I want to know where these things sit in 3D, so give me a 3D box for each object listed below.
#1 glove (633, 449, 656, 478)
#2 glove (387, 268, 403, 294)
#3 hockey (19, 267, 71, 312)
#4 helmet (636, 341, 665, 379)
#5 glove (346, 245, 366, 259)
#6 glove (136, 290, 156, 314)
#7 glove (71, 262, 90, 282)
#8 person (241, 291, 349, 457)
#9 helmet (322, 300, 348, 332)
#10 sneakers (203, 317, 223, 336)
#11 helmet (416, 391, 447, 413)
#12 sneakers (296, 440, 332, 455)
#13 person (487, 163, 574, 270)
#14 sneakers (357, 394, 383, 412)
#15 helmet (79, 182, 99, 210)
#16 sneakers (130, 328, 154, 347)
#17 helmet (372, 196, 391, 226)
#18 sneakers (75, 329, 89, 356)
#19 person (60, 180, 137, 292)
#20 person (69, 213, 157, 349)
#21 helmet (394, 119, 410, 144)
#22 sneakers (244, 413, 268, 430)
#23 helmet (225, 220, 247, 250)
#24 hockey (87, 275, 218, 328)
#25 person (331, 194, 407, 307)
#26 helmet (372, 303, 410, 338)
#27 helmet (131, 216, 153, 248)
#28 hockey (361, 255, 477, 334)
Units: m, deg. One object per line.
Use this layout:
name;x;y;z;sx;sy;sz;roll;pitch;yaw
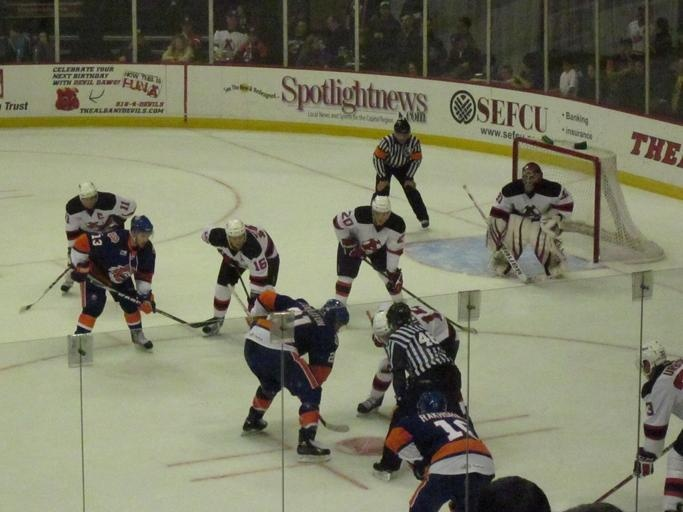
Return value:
glove;1.874;1.277;6.007;0.129;0.172;0.175;-2;1;11
glove;0.454;0.214;8.292;0.144;0.191;0.198;-2;6;-3
hockey;-2.734;0.319;8.939;0.075;0.546;0.078;58;19;23
helmet;1.956;0.637;6.108;0.147;0.194;0.195;-9;-8;-41
glove;0.153;-0.047;8.343;0.104;0.115;0.265;5;10;25
glove;-1.559;0.370;7.789;0.121;0.162;0.067;-13;20;3
glove;-2.108;0.130;7.894;0.158;0.210;0.090;2;32;5
person;-0.266;0.732;5.722;0.616;0.892;0.561;-10;29;-36
helmet;-0.017;0.332;5.979;0.199;0.181;0.152;11;13;8
sneakers;-0.789;0.425;5.965;0.056;0.066;0.154;19;42;14
helmet;0.547;0.880;5.875;0.128;0.146;0.137;2;5;-3
sneakers;-0.159;1.112;5.673;0.203;0.088;0.072;-1;6;-9
person;1.889;-0.359;9.512;0.974;1.242;0.725;4;16;15
sneakers;0.175;0.898;5.906;0.184;0.073;0.066;-12;36;-18
helmet;-2.282;-0.576;8.687;0.172;0.221;0.228;-17;32;-3
sneakers;-1.120;0.455;5.421;0.060;0.115;0.170;-21;23;-39
helmet;0.329;-0.430;8.126;0.169;0.220;0.221;0;37;1
sneakers;-1.412;0.482;5.309;0.091;0.124;0.054;3;10;15
person;-2.268;-0.195;8.906;0.735;1.069;0.502;-17;31;-24
person;-1.823;0.211;7.857;0.741;1.184;0.583;4;17;-24
helmet;0.661;-1.414;10.651;0.179;0.225;0.238;-4;50;-2
sneakers;-0.496;0.928;5.619;0.122;0.120;0.066;-10;31;-13
helmet;-0.828;-0.153;7.691;0.168;0.225;0.222;-7;39;0
hockey;-1.614;0.387;8.155;0.870;0.138;0.119;19;35;-1
person;0.236;-0.007;8.406;0.675;1.169;0.594;5;22;1
helmet;0.336;0.363;6.065;0.239;0.212;0.172;-22;9;11
helmet;-1.588;-0.197;7.671;0.165;0.251;0.246;-2;9;-12
hockey;0.575;0.288;7.429;0.760;0.064;0.107;37;41;12
